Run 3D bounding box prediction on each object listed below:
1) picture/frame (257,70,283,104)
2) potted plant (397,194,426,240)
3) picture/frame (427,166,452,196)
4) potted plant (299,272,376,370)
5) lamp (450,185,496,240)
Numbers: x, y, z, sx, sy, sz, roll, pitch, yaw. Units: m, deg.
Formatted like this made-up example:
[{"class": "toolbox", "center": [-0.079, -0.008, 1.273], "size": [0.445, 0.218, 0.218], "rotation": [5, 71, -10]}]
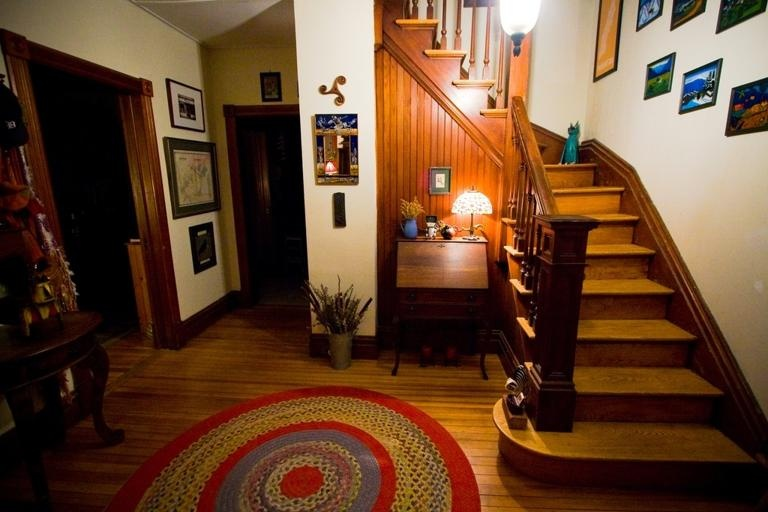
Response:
[{"class": "picture/frame", "center": [-1.419, -2.158, 6.484], "size": [0.401, 0.530, 0.050], "rotation": [0, 17, 0]}, {"class": "potted plant", "center": [0.286, -0.418, 5.567], "size": [0.253, 0.412, 0.248], "rotation": [-1, 14, 2]}, {"class": "picture/frame", "center": [0.600, -0.834, 5.577], "size": [0.291, 0.352, 0.027], "rotation": [0, 13, -1]}, {"class": "potted plant", "center": [-0.471, 0.705, 5.586], "size": [0.726, 0.914, 0.436], "rotation": [-2, 14, -3]}, {"class": "lamp", "center": [0.935, -0.448, 5.461], "size": [0.436, 0.519, 0.410], "rotation": [1, 14, 7]}]
